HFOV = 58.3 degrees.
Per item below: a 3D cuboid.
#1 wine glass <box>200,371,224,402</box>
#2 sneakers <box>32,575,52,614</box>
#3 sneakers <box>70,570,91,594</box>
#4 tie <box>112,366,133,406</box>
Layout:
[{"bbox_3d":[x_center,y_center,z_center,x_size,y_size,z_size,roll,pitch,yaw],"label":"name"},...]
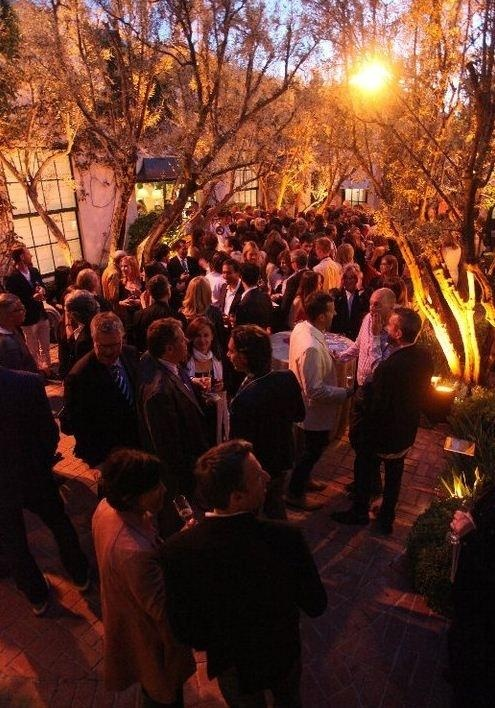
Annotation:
[{"bbox_3d":[-0.266,0.235,3.032,0.148,0.144,0.269,-3,13,-5],"label":"wine glass"},{"bbox_3d":[-1.264,1.484,2.699,0.079,0.258,0.096,5,-13,-14],"label":"sneakers"},{"bbox_3d":[-1.057,1.441,2.788,0.107,0.125,0.141,-6,46,-9],"label":"sneakers"},{"bbox_3d":[-0.824,0.194,2.773,0.040,0.226,0.147,-19,-17,16],"label":"tie"}]
